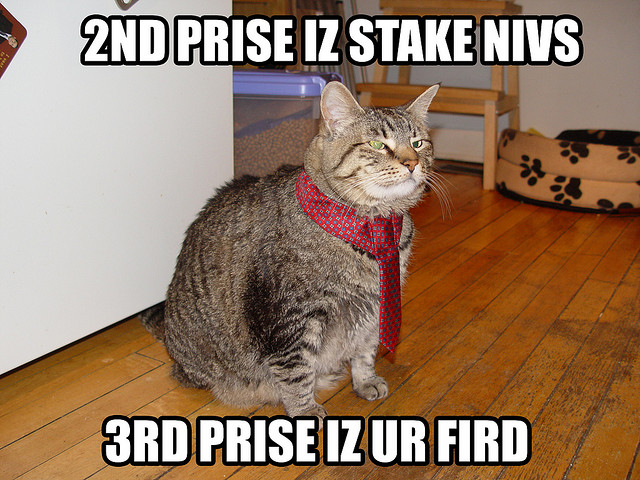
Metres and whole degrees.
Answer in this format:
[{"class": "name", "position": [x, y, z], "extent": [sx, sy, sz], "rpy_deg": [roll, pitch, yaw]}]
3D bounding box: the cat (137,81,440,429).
[{"class": "cat", "position": [-0.134, 0.073, 1.715], "extent": [0.844, 0.905, 0.466], "rpy_deg": [15, 21, 14]}]

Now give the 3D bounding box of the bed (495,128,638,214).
[{"class": "bed", "position": [1.532, -0.424, 3.350], "extent": [0.839, 0.454, 0.308], "rpy_deg": [8, 22, 27]}]
